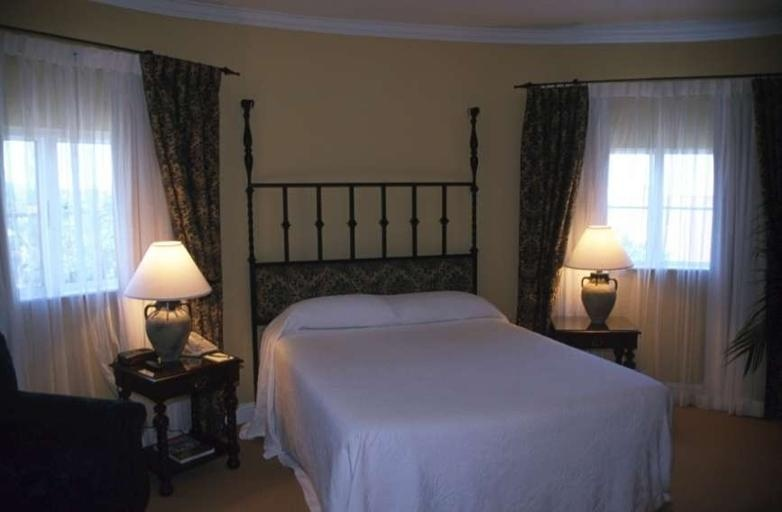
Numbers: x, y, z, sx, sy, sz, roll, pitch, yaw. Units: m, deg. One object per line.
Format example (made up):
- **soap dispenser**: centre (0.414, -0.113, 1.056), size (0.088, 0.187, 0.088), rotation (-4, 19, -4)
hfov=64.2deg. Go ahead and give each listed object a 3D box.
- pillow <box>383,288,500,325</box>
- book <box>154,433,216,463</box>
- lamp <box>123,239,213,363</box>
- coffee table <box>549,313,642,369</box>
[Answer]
- **pillow**: centre (0.404, 0.412, 4.998), size (0.577, 0.107, 0.386), rotation (-1, 11, -14)
- **book**: centre (-1.468, 1.379, 4.458), size (0.187, 0.041, 0.262), rotation (-4, 9, -41)
- **lamp**: centre (-1.549, 0.330, 4.362), size (0.359, 0.827, 0.459), rotation (7, 11, 41)
- **coffee table**: centre (1.711, 0.604, 5.250), size (0.580, 0.583, 0.457), rotation (0, 6, 4)
